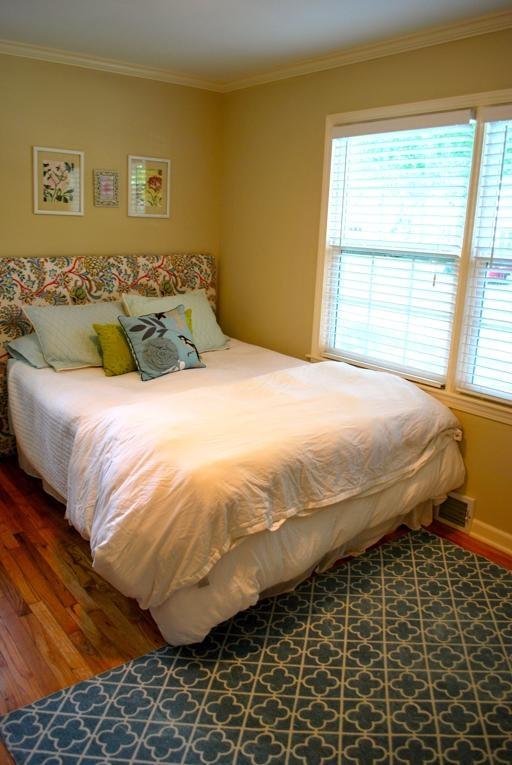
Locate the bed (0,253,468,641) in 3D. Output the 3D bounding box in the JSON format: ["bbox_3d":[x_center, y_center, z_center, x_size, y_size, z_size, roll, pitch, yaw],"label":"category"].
[{"bbox_3d":[-0.330,0.196,2.306,1.167,0.701,1.342,-17,29,-38],"label":"bed"}]

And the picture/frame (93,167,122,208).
[{"bbox_3d":[-0.905,-1.176,3.383,0.020,0.249,0.228,20,25,38],"label":"picture/frame"}]

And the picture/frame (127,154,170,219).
[{"bbox_3d":[-0.696,-1.254,3.569,0.387,0.428,0.024,-16,28,-41],"label":"picture/frame"}]

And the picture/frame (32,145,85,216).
[{"bbox_3d":[-1.129,-1.151,3.173,0.372,0.418,0.028,-18,30,-41],"label":"picture/frame"}]
